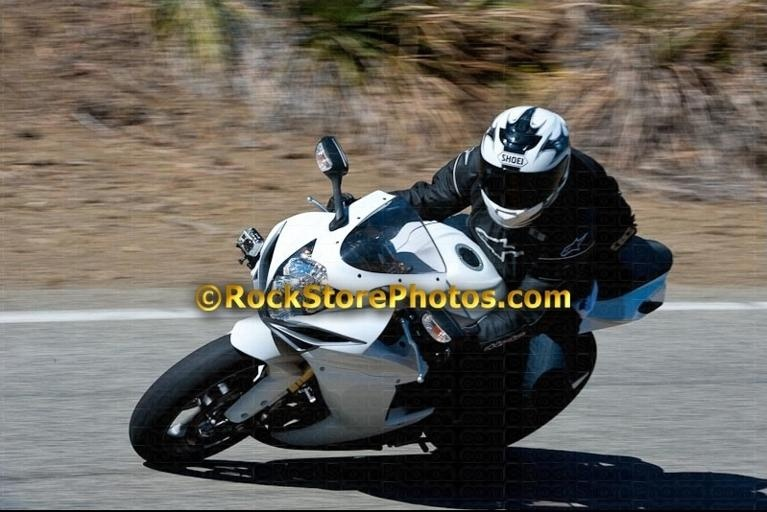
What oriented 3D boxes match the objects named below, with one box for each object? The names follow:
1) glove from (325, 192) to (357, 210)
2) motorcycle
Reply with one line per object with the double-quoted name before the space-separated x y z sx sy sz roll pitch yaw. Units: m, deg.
"glove" -0.272 -0.337 7.671 0.138 0.171 0.055 18 54 -37
"motorcycle" -0.058 0.537 7.704 2.865 1.463 1.253 2 53 -5
